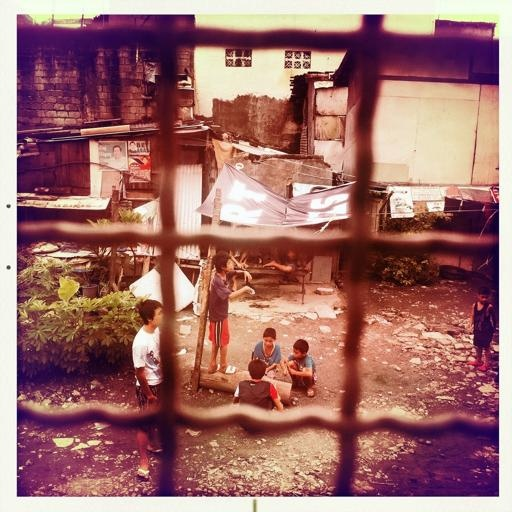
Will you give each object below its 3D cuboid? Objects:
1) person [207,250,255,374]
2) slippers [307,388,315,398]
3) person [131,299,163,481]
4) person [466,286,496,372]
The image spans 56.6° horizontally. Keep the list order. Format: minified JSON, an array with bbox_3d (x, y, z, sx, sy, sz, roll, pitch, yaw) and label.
[{"bbox_3d":[-0.292,0.695,5.512,0.548,1.500,0.663,-8,28,-17],"label":"person"},{"bbox_3d":[0.566,1.390,4.870,0.045,0.065,0.140,0,1,-1],"label":"slippers"},{"bbox_3d":[-0.795,0.971,3.479,0.195,1.321,0.613,2,-2,-10],"label":"person"},{"bbox_3d":[2.531,0.829,5.301,0.267,0.956,1.033,0,-3,25],"label":"person"}]
